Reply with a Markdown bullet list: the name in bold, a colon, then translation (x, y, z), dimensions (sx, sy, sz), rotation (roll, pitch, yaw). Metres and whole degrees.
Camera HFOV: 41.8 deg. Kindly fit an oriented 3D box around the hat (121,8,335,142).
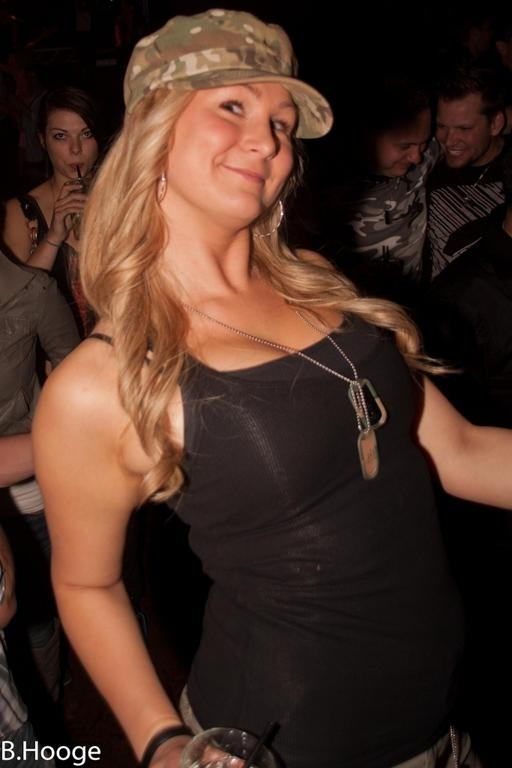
- **hat**: translation (-0.013, -0.652, 1.409), dimensions (0.286, 0.169, 0.356), rotation (-6, -1, -4)
